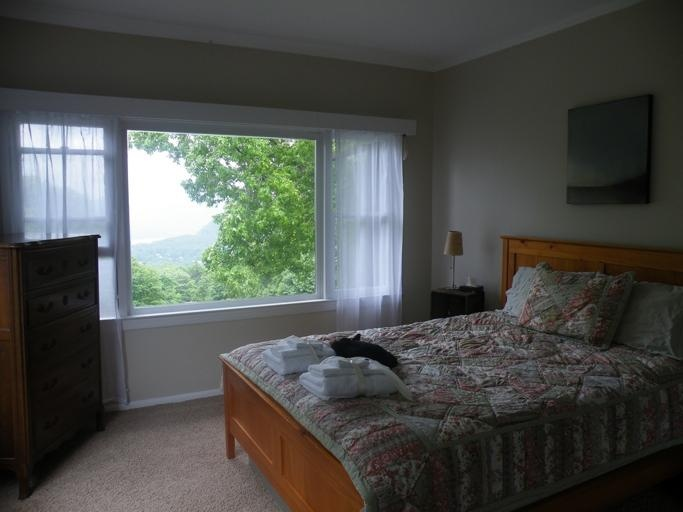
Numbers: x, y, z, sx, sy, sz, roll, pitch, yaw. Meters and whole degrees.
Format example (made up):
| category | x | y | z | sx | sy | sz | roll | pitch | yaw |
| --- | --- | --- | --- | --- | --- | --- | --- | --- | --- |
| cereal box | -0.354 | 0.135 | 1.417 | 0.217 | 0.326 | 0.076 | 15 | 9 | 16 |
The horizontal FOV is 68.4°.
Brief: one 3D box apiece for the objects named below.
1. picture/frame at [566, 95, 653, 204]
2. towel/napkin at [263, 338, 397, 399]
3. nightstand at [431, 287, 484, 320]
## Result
| category | x | y | z | sx | sy | sz | roll | pitch | yaw |
| --- | --- | --- | --- | --- | --- | --- | --- | --- | --- |
| picture/frame | 2.118 | -0.816 | 4.016 | 0.074 | 0.843 | 0.730 | -13 | 14 | -31 |
| towel/napkin | -0.092 | 0.659 | 2.946 | 0.360 | 0.143 | 0.509 | 1 | 4 | -29 |
| nightstand | 1.137 | 0.462 | 5.029 | 0.438 | 0.333 | 0.469 | -1 | -8 | -19 |
